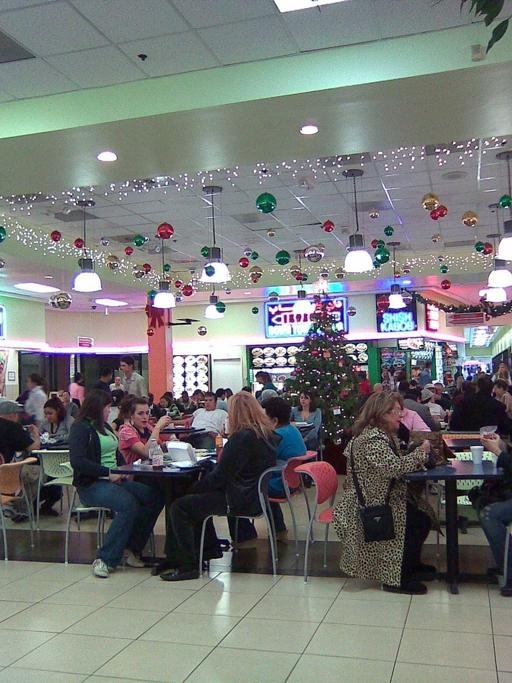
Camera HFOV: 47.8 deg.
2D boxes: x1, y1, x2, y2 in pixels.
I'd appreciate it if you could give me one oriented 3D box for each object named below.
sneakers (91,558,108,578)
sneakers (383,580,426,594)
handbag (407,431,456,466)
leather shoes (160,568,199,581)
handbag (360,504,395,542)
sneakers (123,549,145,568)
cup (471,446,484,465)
[{"bbox_3d":[-1.160,1.703,4.313,0.066,0.068,0.183,5,-2,-14],"label":"sneakers"},{"bbox_3d":[0.952,1.558,3.695,0.253,0.087,0.087,-4,-5,12],"label":"sneakers"},{"bbox_3d":[1.238,0.746,4.033,0.262,0.228,0.087,2,-22,2],"label":"handbag"},{"bbox_3d":[-0.554,1.695,4.229,0.279,0.089,0.096,4,-9,-7],"label":"leather shoes"},{"bbox_3d":[0.763,1.154,3.625,0.203,0.276,0.144,-2,-1,9],"label":"handbag"},{"bbox_3d":[-0.954,1.725,4.592,0.182,0.133,0.129,-2,-2,34],"label":"sneakers"},{"bbox_3d":[1.563,0.808,4.082,0.125,0.119,0.118,-1,-3,0],"label":"cup"}]
